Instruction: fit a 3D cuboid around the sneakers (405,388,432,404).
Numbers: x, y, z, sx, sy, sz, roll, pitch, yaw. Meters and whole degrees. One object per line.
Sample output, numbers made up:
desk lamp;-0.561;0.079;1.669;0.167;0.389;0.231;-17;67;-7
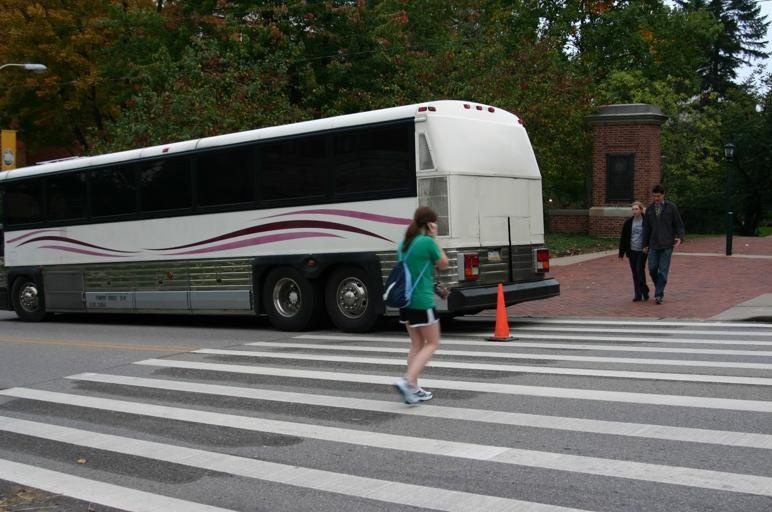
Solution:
sneakers;0.422;1.785;9.613;0.153;0.139;0.362;4;5;45

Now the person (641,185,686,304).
person;6.120;-0.260;16.657;0.747;2.626;1.459;-1;5;20

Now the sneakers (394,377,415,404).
sneakers;0.263;1.702;9.509;0.179;0.397;0.142;-40;25;-7

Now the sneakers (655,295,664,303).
sneakers;5.971;0.948;16.529;0.129;0.147;0.353;-2;-9;18
